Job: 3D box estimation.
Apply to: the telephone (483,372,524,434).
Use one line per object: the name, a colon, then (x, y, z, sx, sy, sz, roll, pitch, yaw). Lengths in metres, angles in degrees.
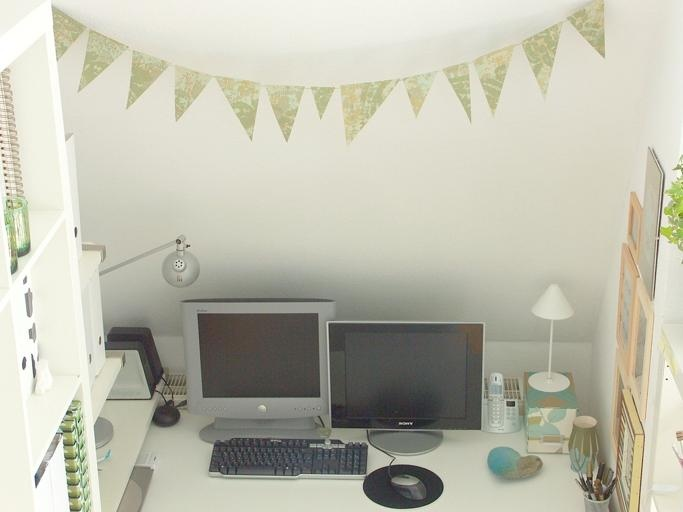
telephone: (0.673, 0.610, 2.527, 0.162, 0.242, 0.089, -8, -42, 23)

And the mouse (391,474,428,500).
mouse: (0.242, 0.843, 2.189, 0.139, 0.066, 0.089, -6, -6, 44)

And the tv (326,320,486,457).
tv: (0.249, 0.513, 2.378, 0.443, 0.416, 0.207, 0, 11, 3)

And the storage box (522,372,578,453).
storage box: (0.854, 0.673, 2.480, 0.215, 0.190, 0.301, -1, 3, 23)
